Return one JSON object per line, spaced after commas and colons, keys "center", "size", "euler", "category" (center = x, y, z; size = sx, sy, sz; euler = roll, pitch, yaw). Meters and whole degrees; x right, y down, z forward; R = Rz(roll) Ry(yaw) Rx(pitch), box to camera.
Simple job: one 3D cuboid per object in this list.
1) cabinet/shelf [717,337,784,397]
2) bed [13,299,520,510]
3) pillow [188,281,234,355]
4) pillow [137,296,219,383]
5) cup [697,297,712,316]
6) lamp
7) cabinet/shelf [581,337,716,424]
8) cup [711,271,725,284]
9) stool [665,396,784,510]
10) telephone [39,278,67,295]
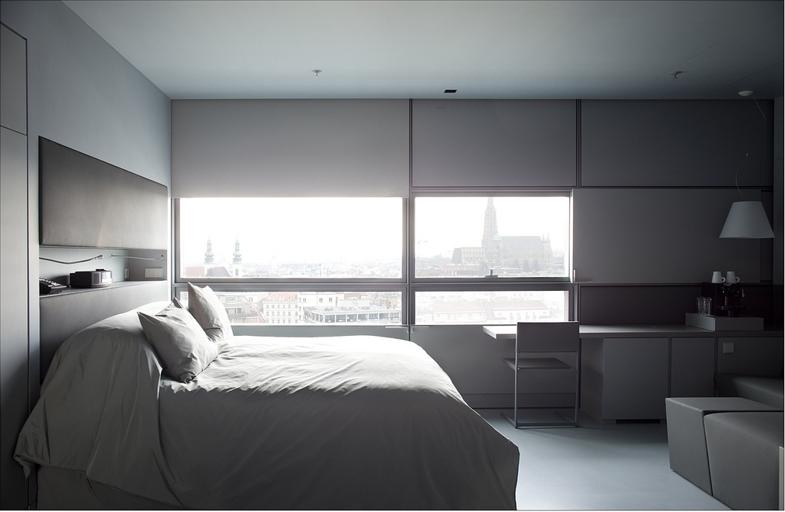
{"center": [3.414, 1.019, 5.237], "size": [0.627, 0.546, 0.146], "euler": [2, 1, 5], "category": "cabinet/shelf"}
{"center": [-0.802, 0.894, 4.091], "size": [2.530, 0.791, 1.659], "euler": [1, -2, -5], "category": "bed"}
{"center": [-1.573, 0.544, 4.769], "size": [0.192, 0.426, 0.488], "euler": [-13, 10, -5], "category": "pillow"}
{"center": [-1.680, 0.634, 4.394], "size": [0.451, 0.489, 0.746], "euler": [4, 3, -4], "category": "pillow"}
{"center": [3.123, 0.500, 5.566], "size": [0.152, 0.215, 0.190], "euler": [2, -5, 16], "category": "cup"}
{"center": [3.680, -0.840, 5.549], "size": [0.468, 1.403, 0.505], "euler": [12, 14, 31], "category": "lamp"}
{"center": [2.519, 1.146, 5.626], "size": [1.530, 0.968, 0.757], "euler": [0, -4, 2], "category": "cabinet/shelf"}
{"center": [3.267, 0.208, 5.617], "size": [0.170, 0.132, 0.105], "euler": [0, -3, 32], "category": "cup"}
{"center": [2.612, 1.532, 4.341], "size": [0.364, 0.675, 0.864], "euler": [-2, 13, -29], "category": "stool"}
{"center": [-2.571, 0.232, 4.161], "size": [0.118, 0.055, 0.157], "euler": [-2, 3, -17], "category": "telephone"}
